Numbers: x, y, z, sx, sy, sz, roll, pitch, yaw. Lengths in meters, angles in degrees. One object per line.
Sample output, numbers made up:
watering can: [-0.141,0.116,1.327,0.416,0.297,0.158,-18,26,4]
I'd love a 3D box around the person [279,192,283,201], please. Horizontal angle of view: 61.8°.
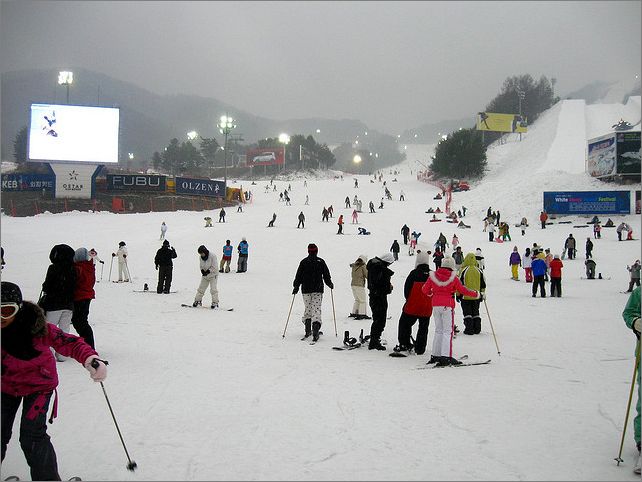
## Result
person: [-4.541,-5.101,61.971,0.518,0.877,1.655,1,2,-6]

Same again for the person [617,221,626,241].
person: [18.726,-0.585,33.366,0.392,1.093,2.364,2,2,29]

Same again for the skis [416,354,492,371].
skis: [2.700,2.484,10.926,1.915,0.193,0.234,1,4,-20]

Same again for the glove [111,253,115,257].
glove: [-9.191,0.611,23.770,0.099,0.118,0.103,6,-37,-12]

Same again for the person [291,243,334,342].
person: [-0.198,1.217,12.678,0.897,2.274,0.680,1,2,-3]

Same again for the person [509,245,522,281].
person: [8.689,0.982,23.866,0.409,1.398,1.804,2,2,21]

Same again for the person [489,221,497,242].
person: [10.941,-0.633,34.485,0.457,1.334,1.306,2,2,16]

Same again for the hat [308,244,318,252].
hat: [-0.186,0.176,12.596,0.182,0.216,0.169,-5,13,-8]

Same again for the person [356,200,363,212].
person: [3.588,-3.258,50.231,0.444,1.045,2.277,2,2,8]

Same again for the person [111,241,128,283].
person: [-8.401,0.763,22.762,0.570,1.559,3.957,1,2,-21]

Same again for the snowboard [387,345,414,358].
snowboard: [1.760,2.403,11.599,0.413,0.208,0.246,7,-2,-4]

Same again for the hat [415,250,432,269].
hat: [2.178,0.395,11.488,0.284,0.423,0.404,3,4,4]

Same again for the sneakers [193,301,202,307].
sneakers: [-3.702,1.869,16.033,0.203,0.234,0.136,1,6,-5]

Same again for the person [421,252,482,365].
person: [2.498,1.400,10.713,0.926,2.192,0.480,1,2,-11]

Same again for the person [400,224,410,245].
person: [5.397,-0.376,33.906,0.413,1.231,1.296,2,2,7]

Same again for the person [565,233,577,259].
person: [13.363,0.306,28.618,0.481,1.346,1.670,2,2,27]

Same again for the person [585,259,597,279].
person: [11.445,1.216,22.692,0.359,0.824,0.488,2,2,26]

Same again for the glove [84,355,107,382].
glove: [-2.928,1.647,7.089,0.251,0.411,0.184,-3,9,-6]

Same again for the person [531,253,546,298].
person: [7.859,1.222,19.231,0.493,1.550,1.384,2,2,23]

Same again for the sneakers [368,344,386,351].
sneakers: [1.261,2.353,12.023,0.406,0.235,0.150,-1,-2,7]

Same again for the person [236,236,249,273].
person: [-3.544,0.668,24.231,0.444,1.515,0.766,1,2,-12]

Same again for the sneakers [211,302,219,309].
sneakers: [-3.179,1.929,16.067,0.176,0.200,0.140,-2,10,-8]

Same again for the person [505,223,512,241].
person: [12.194,-0.640,34.994,0.442,1.192,2.034,2,2,20]

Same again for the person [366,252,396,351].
person: [1.330,1.347,12.041,0.588,2.187,0.711,1,-3,11]

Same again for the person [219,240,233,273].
person: [-4.270,0.697,24.105,0.479,1.510,2.457,1,2,-10]

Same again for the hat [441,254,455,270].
hat: [2.553,0.430,10.742,0.195,0.274,0.266,3,5,20]

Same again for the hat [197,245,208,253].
hat: [-4.074,0.275,18.493,0.359,0.297,0.268,-25,-12,34]

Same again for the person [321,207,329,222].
person: [0.386,-2.195,44.842,0.479,1.172,1.487,1,2,0]

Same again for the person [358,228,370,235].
person: [3.009,-0.636,36.583,0.329,0.540,1.155,-1,-3,39]

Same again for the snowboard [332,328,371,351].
snowboard: [0.719,2.216,12.149,0.531,0.394,1.086,3,2,43]

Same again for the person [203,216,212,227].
person: [-7.948,-1.349,38.059,0.640,0.815,0.685,9,10,34]

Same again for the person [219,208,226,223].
person: [-7.613,-1.921,41.341,0.434,1.061,2.139,1,2,-11]

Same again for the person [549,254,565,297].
person: [8.457,1.261,19.249,0.449,1.423,1.467,2,2,24]

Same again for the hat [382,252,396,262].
hat: [1.481,0.361,11.877,0.265,0.152,0.210,-4,0,40]

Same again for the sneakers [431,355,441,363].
sneakers: [2.317,2.365,10.820,0.137,0.130,0.119,2,-3,43]
